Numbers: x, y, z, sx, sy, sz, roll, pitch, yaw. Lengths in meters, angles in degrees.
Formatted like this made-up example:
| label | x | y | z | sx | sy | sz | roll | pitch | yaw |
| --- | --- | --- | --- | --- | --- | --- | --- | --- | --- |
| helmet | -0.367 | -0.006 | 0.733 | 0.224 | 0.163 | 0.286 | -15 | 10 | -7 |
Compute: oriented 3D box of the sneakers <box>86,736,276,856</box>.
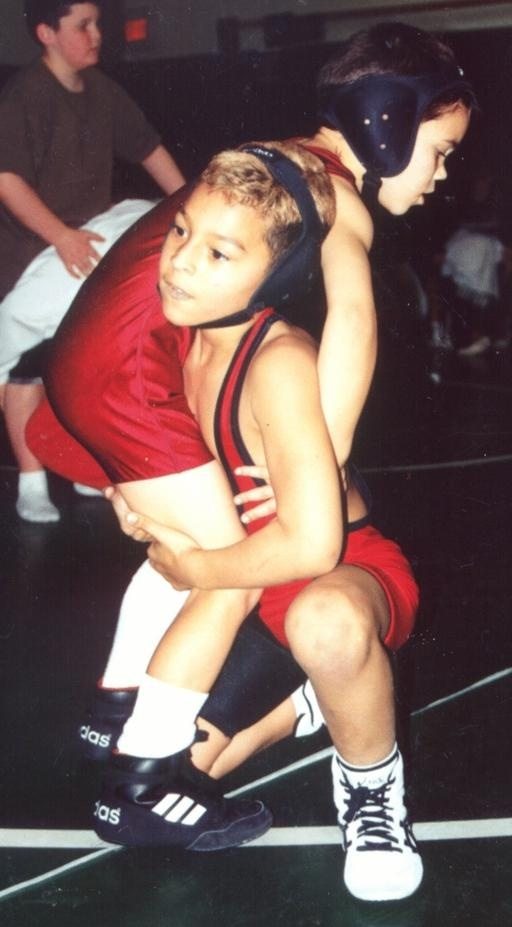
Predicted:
| label | x | y | z | sx | sy | sz | roll | pitch | yaw |
| --- | --- | --- | --- | --- | --- | --- | --- | --- | --- |
| sneakers | -0.090 | 0.410 | 1.041 | 0.258 | 0.176 | 0.087 | 1 | -7 | -7 |

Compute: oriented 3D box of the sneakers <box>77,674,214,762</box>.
| label | x | y | z | sx | sy | sz | roll | pitch | yaw |
| --- | --- | --- | --- | --- | --- | --- | --- | --- | --- |
| sneakers | -0.178 | 0.349 | 1.116 | 0.048 | 0.097 | 0.144 | 5 | -17 | 17 |

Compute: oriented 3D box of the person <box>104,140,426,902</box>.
| label | x | y | z | sx | sy | sz | roll | pitch | yaw |
| --- | --- | --- | --- | --- | --- | --- | --- | --- | --- |
| person | 0.025 | 0.071 | 0.975 | 0.412 | 0.858 | 0.280 | -14 | 16 | -27 |

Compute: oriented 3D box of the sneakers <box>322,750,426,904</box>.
| label | x | y | z | sx | sy | sz | roll | pitch | yaw |
| --- | --- | --- | --- | --- | --- | --- | --- | --- | --- |
| sneakers | 0.140 | 0.380 | 0.940 | 0.070 | 0.076 | 0.192 | -10 | 38 | 12 |
